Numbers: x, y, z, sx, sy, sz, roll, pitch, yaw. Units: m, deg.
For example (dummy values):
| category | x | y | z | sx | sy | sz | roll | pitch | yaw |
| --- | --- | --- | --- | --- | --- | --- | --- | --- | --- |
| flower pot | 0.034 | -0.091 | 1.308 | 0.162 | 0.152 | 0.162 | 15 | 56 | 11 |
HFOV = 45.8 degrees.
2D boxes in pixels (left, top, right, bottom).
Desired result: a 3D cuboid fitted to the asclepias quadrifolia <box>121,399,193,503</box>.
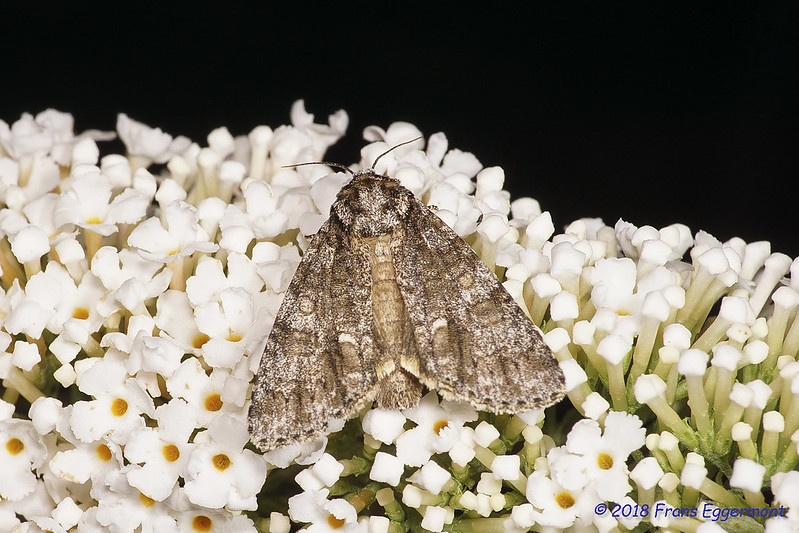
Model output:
| category | x | y | z | sx | sy | sz | roll | pitch | yaw |
| --- | --- | --- | --- | --- | --- | --- | --- | --- | --- |
| asclepias quadrifolia | -0.870 | 0.655 | 3.577 | 0.321 | 0.344 | 0.370 | -16 | 0 | -32 |

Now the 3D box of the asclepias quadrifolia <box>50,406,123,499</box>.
| category | x | y | z | sx | sy | sz | roll | pitch | yaw |
| --- | --- | --- | --- | --- | --- | --- | --- | --- | --- |
| asclepias quadrifolia | -1.168 | 0.681 | 3.609 | 0.286 | 0.316 | 0.144 | 19 | 22 | 4 |

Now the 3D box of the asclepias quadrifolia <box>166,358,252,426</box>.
| category | x | y | z | sx | sy | sz | roll | pitch | yaw |
| --- | --- | --- | --- | --- | --- | --- | --- | --- | --- |
| asclepias quadrifolia | -0.725 | 0.479 | 3.550 | 0.277 | 0.263 | 0.101 | -30 | -13 | -13 |

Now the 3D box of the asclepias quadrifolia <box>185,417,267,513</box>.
| category | x | y | z | sx | sy | sz | roll | pitch | yaw |
| --- | --- | --- | --- | --- | --- | --- | --- | --- | --- |
| asclepias quadrifolia | -0.642 | 0.723 | 3.449 | 0.289 | 0.352 | 0.092 | -7 | 2 | -17 |

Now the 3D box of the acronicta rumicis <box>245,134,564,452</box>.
| category | x | y | z | sx | sy | sz | roll | pitch | yaw |
| --- | --- | --- | --- | --- | --- | --- | --- | --- | --- |
| acronicta rumicis | -0.030 | 0.001 | 3.954 | 1.316 | 0.936 | 1.398 | 4 | 16 | 1 |
